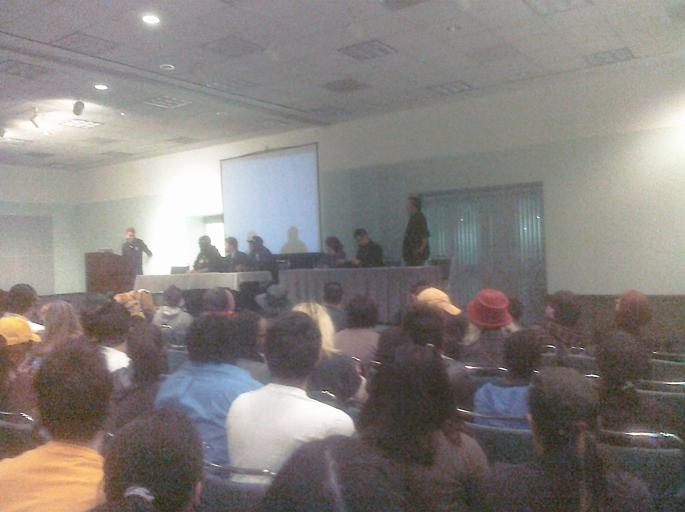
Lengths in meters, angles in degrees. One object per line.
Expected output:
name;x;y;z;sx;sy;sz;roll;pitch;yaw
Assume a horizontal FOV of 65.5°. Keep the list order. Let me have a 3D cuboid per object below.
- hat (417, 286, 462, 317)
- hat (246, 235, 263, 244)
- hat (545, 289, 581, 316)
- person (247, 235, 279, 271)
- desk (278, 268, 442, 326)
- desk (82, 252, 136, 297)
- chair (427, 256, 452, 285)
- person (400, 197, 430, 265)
hat;0.613;0.289;3.459;0.351;0.177;0.222;5;0;-12
hat;-1.389;-0.256;8.406;0.274;0.098;0.186;1;-1;44
hat;1.394;0.276;3.305;0.140;0.165;0.174;-4;26;-9
person;-1.218;-0.036;8.092;0.376;0.419;0.765;-2;1;-17
desk;0.233;0.460;6.820;2.060;0.737;0.403;0;11;0
desk;-3.877;0.277;8.922;0.746;0.663;0.589;-3;1;-34
chair;1.284;0.203;7.159;0.338;0.422;0.334;0;4;-5
person;1.010;-0.335;7.393;0.348;0.930;0.235;-2;1;5
